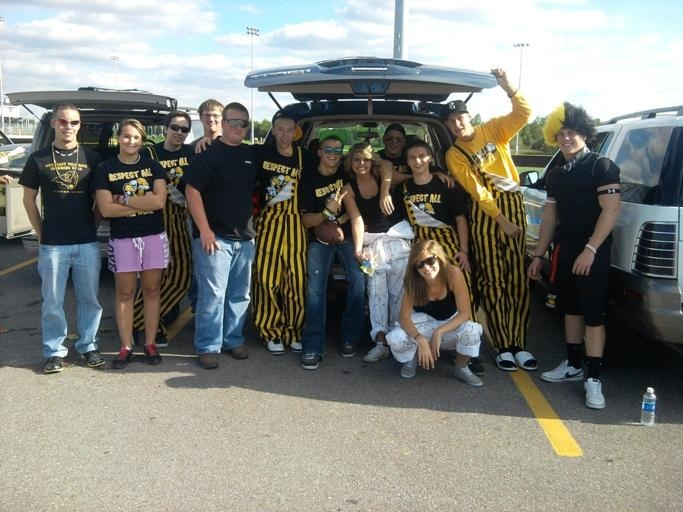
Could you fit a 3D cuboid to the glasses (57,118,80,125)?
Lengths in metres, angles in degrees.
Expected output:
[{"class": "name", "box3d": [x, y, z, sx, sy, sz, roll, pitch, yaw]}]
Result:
[{"class": "glasses", "box3d": [-2.338, -1.133, 4.547, 0.188, 0.088, 0.126, -10, 17, -36]}]

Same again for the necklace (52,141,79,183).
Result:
[{"class": "necklace", "box3d": [-2.363, -0.762, 4.573, 0.212, 0.331, 0.150, -6, 15, -25]}]

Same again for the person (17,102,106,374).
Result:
[{"class": "person", "box3d": [-2.370, -0.146, 4.617, 0.634, 2.266, 0.512, -7, 16, -28]}]

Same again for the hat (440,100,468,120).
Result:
[{"class": "hat", "box3d": [1.013, -1.327, 4.844, 0.238, 0.164, 0.273, 7, 15, 23]}]

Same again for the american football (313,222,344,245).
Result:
[{"class": "american football", "box3d": [-0.118, -0.212, 5.000, 0.299, 0.226, 0.164, 0, 14, -1]}]
